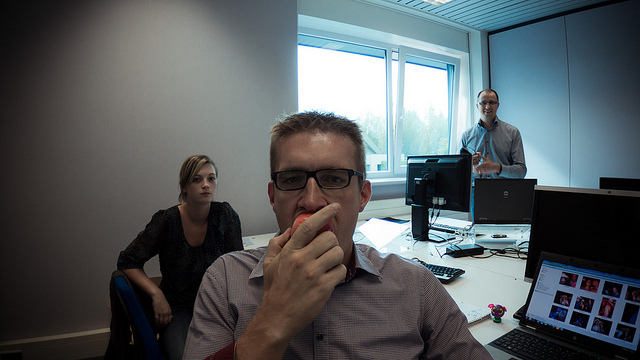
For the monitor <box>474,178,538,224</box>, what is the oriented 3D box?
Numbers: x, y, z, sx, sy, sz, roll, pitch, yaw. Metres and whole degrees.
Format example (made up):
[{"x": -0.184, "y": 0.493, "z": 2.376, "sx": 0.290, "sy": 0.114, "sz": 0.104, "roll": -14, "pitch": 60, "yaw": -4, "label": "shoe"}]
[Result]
[{"x": 1.863, "y": 0.211, "z": 3.881, "sx": 0.630, "sy": 0.412, "sz": 0.453, "roll": 0, "pitch": 2, "yaw": 24, "label": "monitor"}]

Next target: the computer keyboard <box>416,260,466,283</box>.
[{"x": 1.068, "y": 0.826, "z": 3.467, "sx": 0.411, "sy": 0.109, "sz": 0.212, "roll": 2, "pitch": 6, "yaw": 25, "label": "computer keyboard"}]

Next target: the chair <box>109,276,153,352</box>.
[{"x": -1.568, "y": 1.112, "z": 3.186, "sx": 0.327, "sy": 0.619, "sz": 0.145, "roll": -3, "pitch": 7, "yaw": -23, "label": "chair"}]

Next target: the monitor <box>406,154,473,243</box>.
[{"x": 1.279, "y": 0.188, "z": 4.146, "sx": 0.919, "sy": 1.000, "sz": 0.526, "roll": 5, "pitch": 11, "yaw": 37, "label": "monitor"}]

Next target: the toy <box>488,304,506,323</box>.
[{"x": 1.394, "y": 1.028, "z": 3.085, "sx": 0.187, "sy": 0.160, "sz": 0.114, "roll": 0, "pitch": -12, "yaw": 23, "label": "toy"}]

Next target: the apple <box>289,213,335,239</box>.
[{"x": -0.055, "y": 0.313, "z": 2.640, "sx": 0.311, "sy": 0.168, "sz": 0.165, "roll": 0, "pitch": 6, "yaw": 0, "label": "apple"}]

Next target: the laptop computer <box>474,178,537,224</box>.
[{"x": 1.950, "y": 0.216, "z": 4.118, "sx": 0.689, "sy": 0.464, "sz": 0.484, "roll": 0, "pitch": -2, "yaw": 7, "label": "laptop computer"}]
